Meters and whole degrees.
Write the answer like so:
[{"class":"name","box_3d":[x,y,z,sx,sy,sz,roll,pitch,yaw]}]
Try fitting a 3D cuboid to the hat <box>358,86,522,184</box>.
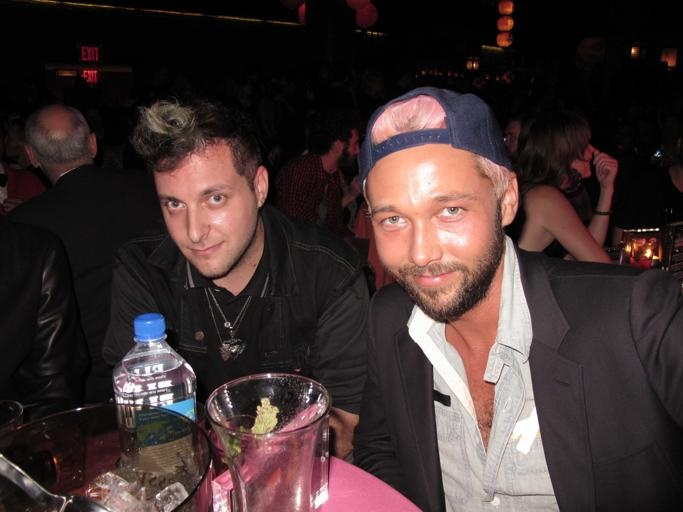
[{"class":"hat","box_3d":[0.355,-0.401,1.955,0.439,0.238,0.310,-12,2,-44]}]
